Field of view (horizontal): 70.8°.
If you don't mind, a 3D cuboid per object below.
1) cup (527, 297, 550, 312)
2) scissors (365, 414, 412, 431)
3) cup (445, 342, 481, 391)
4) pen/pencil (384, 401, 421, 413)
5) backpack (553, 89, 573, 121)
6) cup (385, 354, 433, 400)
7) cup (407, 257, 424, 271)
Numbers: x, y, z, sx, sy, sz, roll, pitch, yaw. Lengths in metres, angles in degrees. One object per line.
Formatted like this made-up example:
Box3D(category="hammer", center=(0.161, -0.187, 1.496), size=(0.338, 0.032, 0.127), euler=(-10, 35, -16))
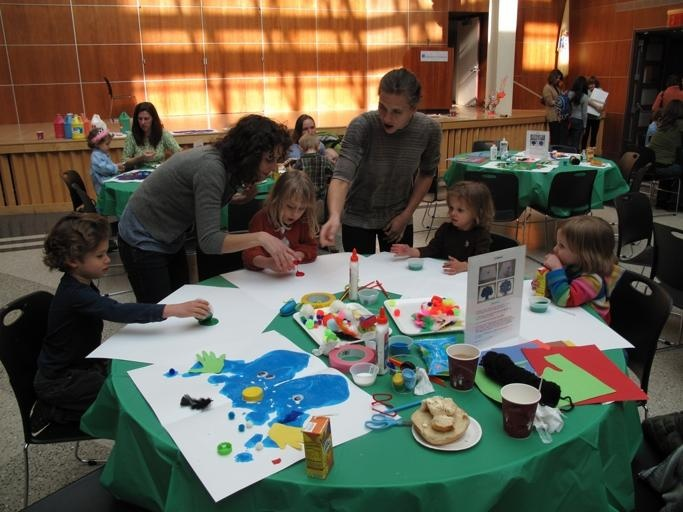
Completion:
Box3D(category="cup", center=(0.846, 0.204, 2.041), size=(0.064, 0.041, 0.065), euler=(-4, 32, 3))
Box3D(category="scissors", center=(0.146, 0.504, 1.466), size=(0.086, 0.021, 0.055), euler=(2, 4, -8))
Box3D(category="cup", center=(0.407, 0.390, 1.611), size=(0.112, 0.123, 0.118), euler=(5, -2, 0))
Box3D(category="pen/pencil", center=(0.195, 0.481, 1.519), size=(0.114, 0.013, 0.012), euler=(-7, 4, -23))
Box3D(category="backpack", center=(3.838, -2.590, 8.306), size=(0.281, 0.579, 0.409), euler=(-11, 15, 3))
Box3D(category="cup", center=(0.229, 0.407, 1.615), size=(0.122, 0.055, 0.091), euler=(23, 37, 34))
Box3D(category="cup", center=(0.393, 0.042, 2.466), size=(0.058, 0.040, 0.062), euler=(-2, 16, 1))
